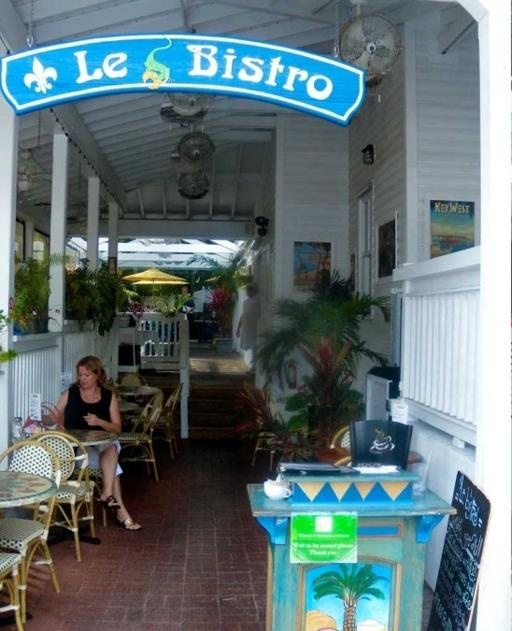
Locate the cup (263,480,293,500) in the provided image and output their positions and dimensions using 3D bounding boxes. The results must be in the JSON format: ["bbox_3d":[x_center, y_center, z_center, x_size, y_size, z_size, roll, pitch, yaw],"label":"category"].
[{"bbox_3d":[0.082,0.656,1.992,0.103,0.065,0.118,2,-3,2],"label":"cup"}]

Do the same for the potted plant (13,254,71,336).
[{"bbox_3d":[-1.819,-0.207,4.326,0.274,0.723,1.144,3,-4,-22],"label":"potted plant"}]

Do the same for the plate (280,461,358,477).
[{"bbox_3d":[0.241,0.591,2.011,0.291,0.046,0.195,2,-3,-5],"label":"plate"}]

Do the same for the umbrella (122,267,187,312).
[{"bbox_3d":[-2.422,-0.516,13.255,1.360,0.570,1.290,5,7,21],"label":"umbrella"}]

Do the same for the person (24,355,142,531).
[{"bbox_3d":[-1.243,0.974,4.093,0.775,1.295,0.521,2,-4,3],"label":"person"}]

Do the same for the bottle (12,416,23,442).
[{"bbox_3d":[-1.649,0.792,3.675,0.067,0.142,0.189,3,-4,-25],"label":"bottle"}]
